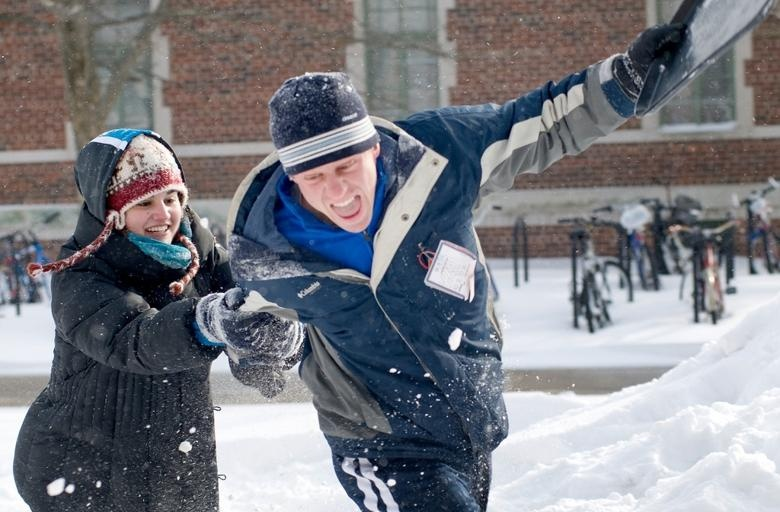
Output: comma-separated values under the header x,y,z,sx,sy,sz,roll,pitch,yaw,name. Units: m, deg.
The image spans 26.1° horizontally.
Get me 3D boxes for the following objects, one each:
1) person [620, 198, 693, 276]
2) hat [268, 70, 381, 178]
x,y,z,sx,sy,sz,roll,pitch,yaw,name
4.264,-0.339,27.272,0.871,1.525,0.700,-21,-12,2,person
-0.902,-1.627,20.957,1.265,0.986,1.248,-24,11,22,hat
